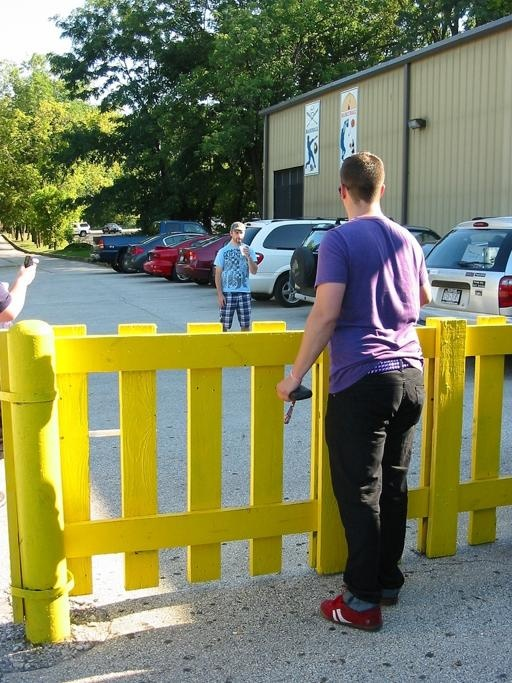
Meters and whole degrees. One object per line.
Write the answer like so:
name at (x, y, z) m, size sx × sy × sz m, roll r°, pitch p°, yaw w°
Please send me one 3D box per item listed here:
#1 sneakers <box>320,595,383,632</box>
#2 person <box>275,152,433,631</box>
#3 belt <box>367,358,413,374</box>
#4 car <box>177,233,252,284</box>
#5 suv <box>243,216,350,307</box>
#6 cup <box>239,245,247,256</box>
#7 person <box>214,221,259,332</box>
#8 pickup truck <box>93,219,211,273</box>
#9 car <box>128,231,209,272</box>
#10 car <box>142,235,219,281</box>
sneakers at (0.353, 1.002, 3.551) m, size 0.229 × 0.109 × 0.097 m, roll 10°, pitch 9°, yaw 36°
person at (0.364, 0.182, 3.504) m, size 0.586 × 1.723 × 0.346 m, roll -2°, pitch 7°, yaw -7°
belt at (0.480, 0.089, 3.414) m, size 0.189 × 0.046 × 0.026 m, roll -6°, pitch 9°, yaw -34°
car at (-0.750, -1.664, 19.634) m, size 1.797 × 0.670 × 0.824 m, roll -10°, pitch 14°, yaw -23°
suv at (0.742, -1.281, 14.453) m, size 1.746 × 0.976 × 0.860 m, roll -8°, pitch 13°, yaw -16°
cup at (-0.126, -0.875, 9.244) m, size 0.052 × 0.093 × 0.154 m, roll -3°, pitch 8°, yaw -17°
person at (-0.205, -0.606, 9.293) m, size 0.401 × 1.075 × 0.652 m, roll -1°, pitch 7°, yaw -1°
pickup truck at (-2.630, -2.373, 27.230) m, size 3.631 × 1.307 × 1.662 m, roll -10°, pitch 13°, yaw -23°
car at (-2.258, -2.285, 25.286) m, size 2.367 × 0.804 × 1.001 m, roll -13°, pitch 12°, yaw -18°
car at (-1.531, -2.044, 22.206) m, size 2.055 × 0.693 × 0.926 m, roll -14°, pitch 16°, yaw -23°
